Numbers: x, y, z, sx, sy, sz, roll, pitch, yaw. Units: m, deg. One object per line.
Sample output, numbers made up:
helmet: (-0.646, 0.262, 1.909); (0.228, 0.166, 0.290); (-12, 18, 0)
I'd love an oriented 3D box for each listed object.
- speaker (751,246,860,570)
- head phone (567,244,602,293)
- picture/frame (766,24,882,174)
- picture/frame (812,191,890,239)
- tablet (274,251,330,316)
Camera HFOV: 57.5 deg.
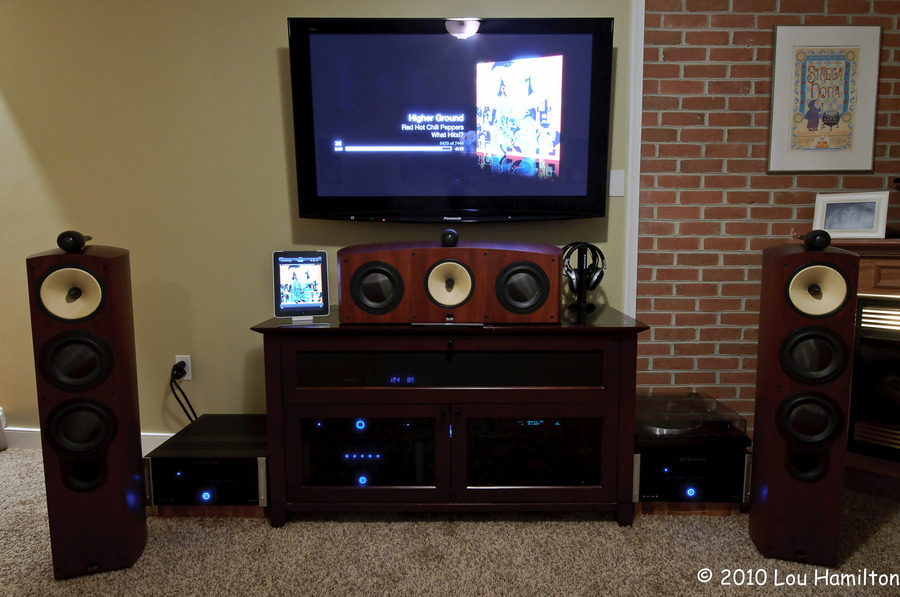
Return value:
speaker: (1.463, 0.445, 3.421); (0.366, 1.309, 0.246); (4, 13, 20)
head phone: (0.634, -0.156, 3.832); (0.186, 0.214, 0.088); (1, 3, 21)
picture/frame: (1.801, -0.994, 3.946); (0.669, 0.848, 0.037); (1, 3, -1)
picture/frame: (1.880, -0.387, 3.826); (0.274, 0.199, 0.010); (3, -7, 23)
tablet: (-0.705, -0.066, 3.827); (0.304, 0.354, 0.038); (0, -1, -7)
